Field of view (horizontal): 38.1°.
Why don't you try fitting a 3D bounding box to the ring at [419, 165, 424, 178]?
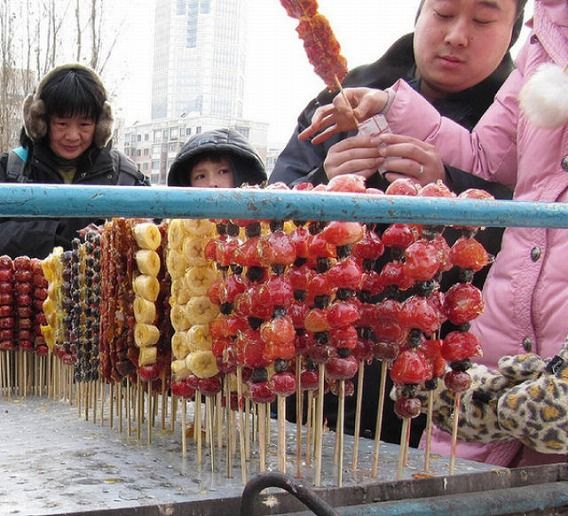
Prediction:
[{"bbox_3d":[0.496,-0.319,2.951,0.008,0.029,0.031,6,-8,-6],"label":"ring"}]
